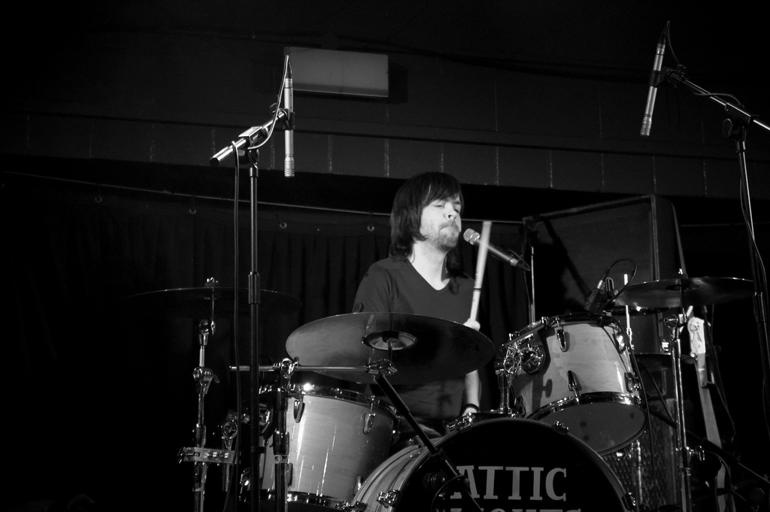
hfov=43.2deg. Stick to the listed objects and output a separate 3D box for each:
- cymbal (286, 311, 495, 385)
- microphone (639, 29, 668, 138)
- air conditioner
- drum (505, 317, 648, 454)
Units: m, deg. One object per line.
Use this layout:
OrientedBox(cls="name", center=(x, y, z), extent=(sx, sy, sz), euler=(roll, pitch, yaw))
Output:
OrientedBox(cls="cymbal", center=(0.019, 0.599, 6.164), extent=(1.044, 0.276, 1.117), euler=(-8, -24, 21))
OrientedBox(cls="microphone", center=(1.912, -1.223, 6.930), extent=(0.107, 0.797, 0.108), euler=(1, 14, -37))
OrientedBox(cls="air conditioner", center=(-0.354, -1.559, 7.977), extent=(0.806, 0.410, 0.153), euler=(5, 20, 4))
OrientedBox(cls="drum", center=(1.274, 0.826, 6.628), extent=(0.821, 0.621, 0.876), euler=(-6, -38, -5))
